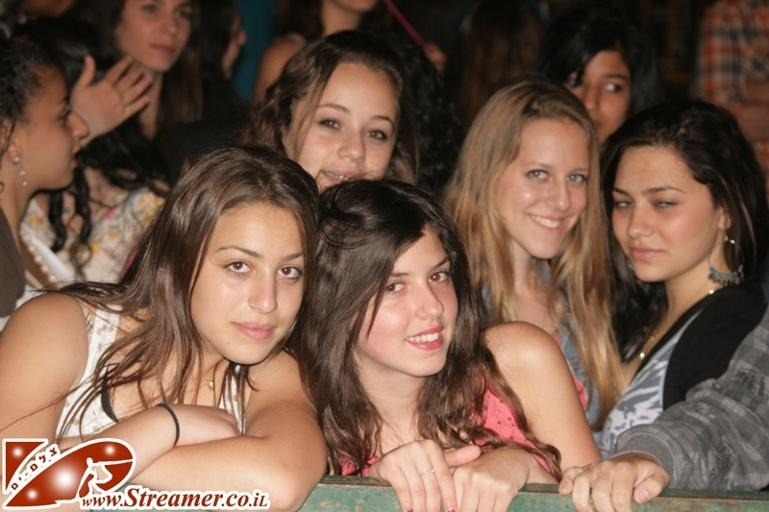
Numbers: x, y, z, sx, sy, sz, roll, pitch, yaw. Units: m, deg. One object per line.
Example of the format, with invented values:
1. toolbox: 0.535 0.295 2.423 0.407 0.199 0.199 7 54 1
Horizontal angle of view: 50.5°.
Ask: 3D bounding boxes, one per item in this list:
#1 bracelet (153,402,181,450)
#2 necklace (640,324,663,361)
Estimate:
1. bracelet: -1.134 0.892 4.275 0.151 0.211 0.050 1 -15 20
2. necklace: 1.749 0.586 5.394 0.069 0.315 0.089 29 -23 23
